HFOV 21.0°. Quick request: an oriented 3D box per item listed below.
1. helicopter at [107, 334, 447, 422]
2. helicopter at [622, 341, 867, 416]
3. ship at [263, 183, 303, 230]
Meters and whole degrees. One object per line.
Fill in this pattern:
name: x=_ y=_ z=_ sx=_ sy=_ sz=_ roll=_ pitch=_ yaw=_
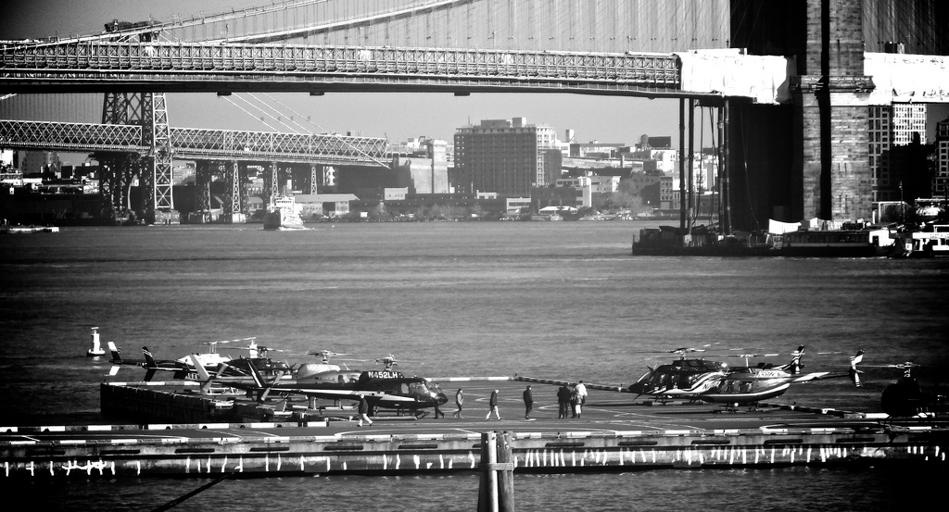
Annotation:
helicopter: x=-10.059 y=6.555 z=132.510 sx=15.518 sy=3.376 sz=4.838 roll=1 pitch=-2 yaw=-28
helicopter: x=13.523 y=7.651 z=130.128 sx=18.416 sy=4.467 sz=6.281 roll=0 pitch=-1 yaw=-11
ship: x=-18.726 y=-4.082 z=253.728 sx=2.470 sy=2.679 sz=7.528 roll=0 pitch=6 yaw=-8
